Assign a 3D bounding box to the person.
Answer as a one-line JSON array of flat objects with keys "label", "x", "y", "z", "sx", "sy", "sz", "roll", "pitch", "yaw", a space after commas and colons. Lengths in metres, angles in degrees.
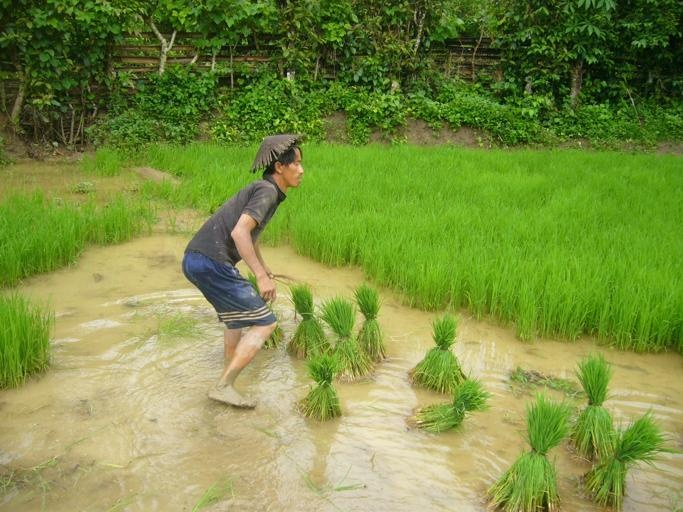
[{"label": "person", "x": -0.869, "y": 0.089, "z": 5.852, "sx": 0.743, "sy": 2.364, "sz": 0.916, "roll": 13, "pitch": 15, "yaw": 41}]
